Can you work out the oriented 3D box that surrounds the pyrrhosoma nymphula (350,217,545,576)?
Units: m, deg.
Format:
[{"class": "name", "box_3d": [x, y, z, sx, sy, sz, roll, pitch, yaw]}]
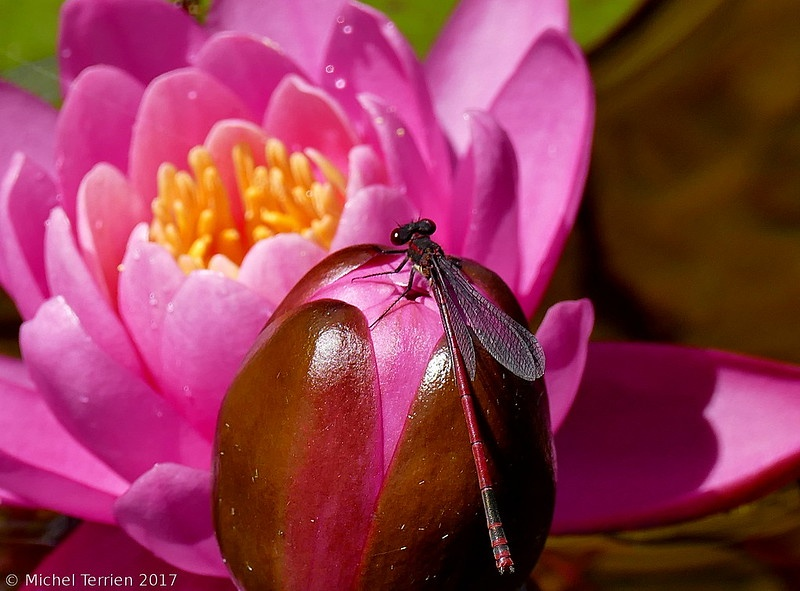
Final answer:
[{"class": "pyrrhosoma nymphula", "box_3d": [0.046, 0.047, 0.618, 0.097, 0.060, 0.262, -7, 68, -35]}]
